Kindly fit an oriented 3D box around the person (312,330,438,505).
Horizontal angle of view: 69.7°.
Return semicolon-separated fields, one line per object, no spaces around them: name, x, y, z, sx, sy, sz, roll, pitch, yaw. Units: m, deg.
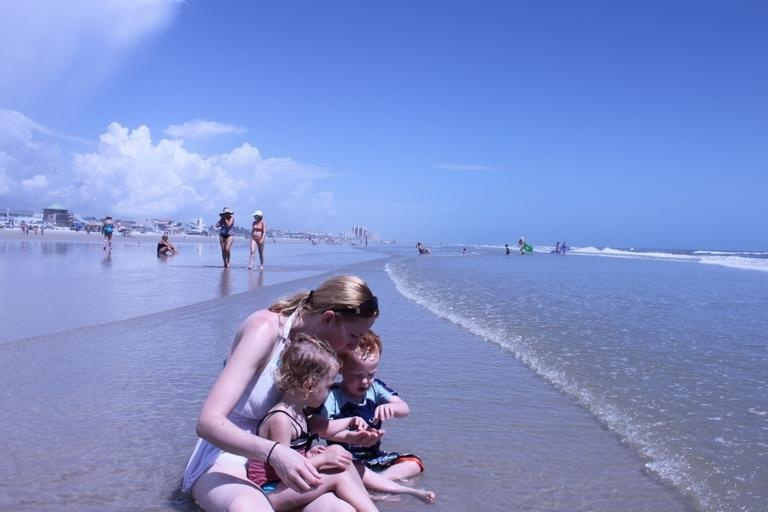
person;-0.117;1.461;5.671;1.017;1.626;1.602;-10;11;-42

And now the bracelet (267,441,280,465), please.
bracelet;-0.851;1.482;4.147;0.038;0.132;0.131;30;-45;-18

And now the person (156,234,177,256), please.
person;-11.572;-0.533;29.219;0.984;1.062;2.268;-1;-2;-13
